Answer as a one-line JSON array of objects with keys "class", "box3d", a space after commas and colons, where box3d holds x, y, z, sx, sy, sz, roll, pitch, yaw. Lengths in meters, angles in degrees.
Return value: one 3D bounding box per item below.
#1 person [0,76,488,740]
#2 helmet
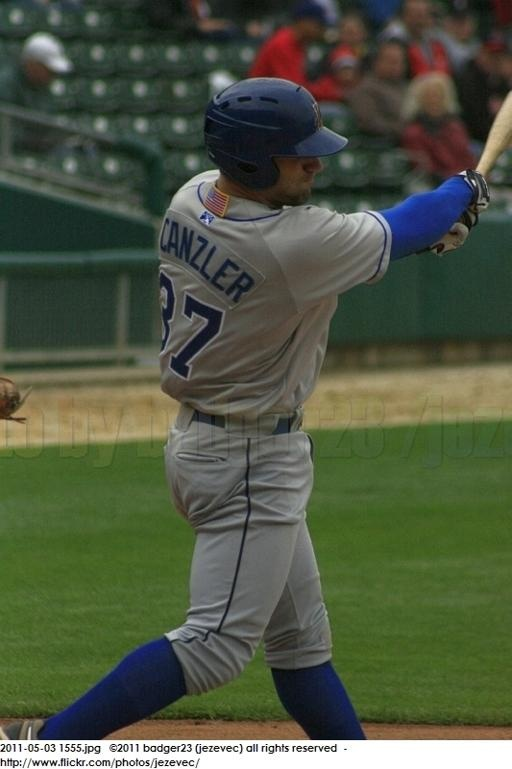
[{"class": "person", "box3d": [-0.032, 0.063, 2.584, 0.920, 1.416, 0.362, -1, 9, -25]}, {"class": "helmet", "box3d": [0.039, -0.516, 2.489, 0.312, 0.186, 0.195, -2, 23, 1]}]
